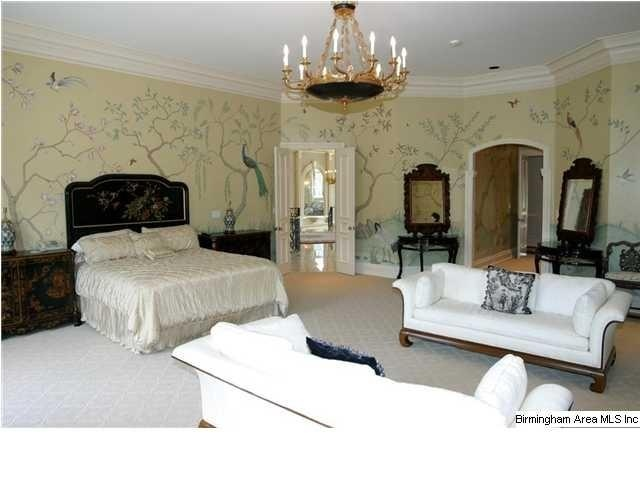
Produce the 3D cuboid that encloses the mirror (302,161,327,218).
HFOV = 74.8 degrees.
[{"bbox_3d":[-0.160,-1.575,13.024,0.907,1.683,0.164,-5,11,-39],"label":"mirror"}]

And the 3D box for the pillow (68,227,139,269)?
[{"bbox_3d":[-2.860,0.104,5.662,0.562,0.157,0.503,-11,55,-34],"label":"pillow"}]

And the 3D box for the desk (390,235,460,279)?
[{"bbox_3d":[2.016,0.344,7.971,1.078,0.847,0.779,1,4,18],"label":"desk"}]

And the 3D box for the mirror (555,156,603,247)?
[{"bbox_3d":[3.944,-0.589,6.397,0.191,1.308,0.681,-1,9,-16],"label":"mirror"}]

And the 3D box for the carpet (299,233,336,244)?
[{"bbox_3d":[-0.065,-0.053,12.462,0.983,0.298,0.580,1,8,-6],"label":"carpet"}]

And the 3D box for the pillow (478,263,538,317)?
[{"bbox_3d":[2.037,0.568,4.554,0.425,0.439,0.159,7,-16,38],"label":"pillow"}]

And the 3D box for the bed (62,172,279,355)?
[{"bbox_3d":[-2.195,0.170,5.851,2.677,1.986,2.136,8,12,40],"label":"bed"}]
